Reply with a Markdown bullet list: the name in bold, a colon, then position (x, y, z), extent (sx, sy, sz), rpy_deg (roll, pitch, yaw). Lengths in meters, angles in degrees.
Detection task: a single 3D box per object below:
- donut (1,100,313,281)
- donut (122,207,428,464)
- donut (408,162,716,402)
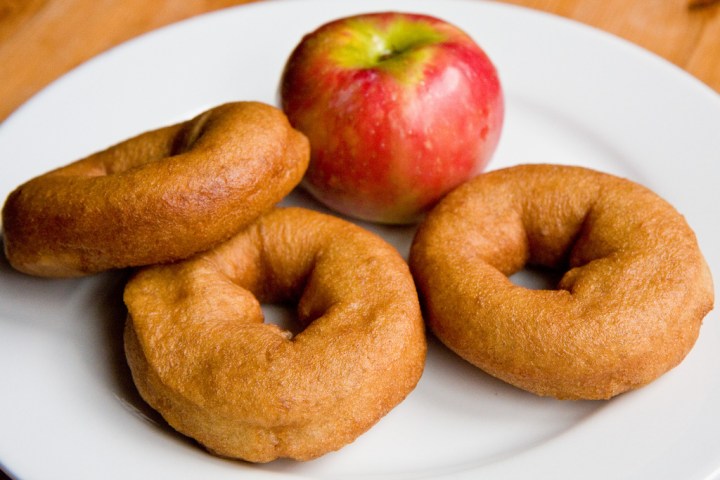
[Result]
- **donut**: position (-0.307, -0.077, 1.194), extent (0.360, 0.301, 0.115), rpy_deg (-27, 108, -5)
- **donut**: position (-0.126, 0.149, 1.184), extent (0.449, 0.183, 0.392), rpy_deg (-27, 76, -4)
- **donut**: position (0.313, 0.064, 1.223), extent (0.442, 0.166, 0.396), rpy_deg (-13, 76, 0)
